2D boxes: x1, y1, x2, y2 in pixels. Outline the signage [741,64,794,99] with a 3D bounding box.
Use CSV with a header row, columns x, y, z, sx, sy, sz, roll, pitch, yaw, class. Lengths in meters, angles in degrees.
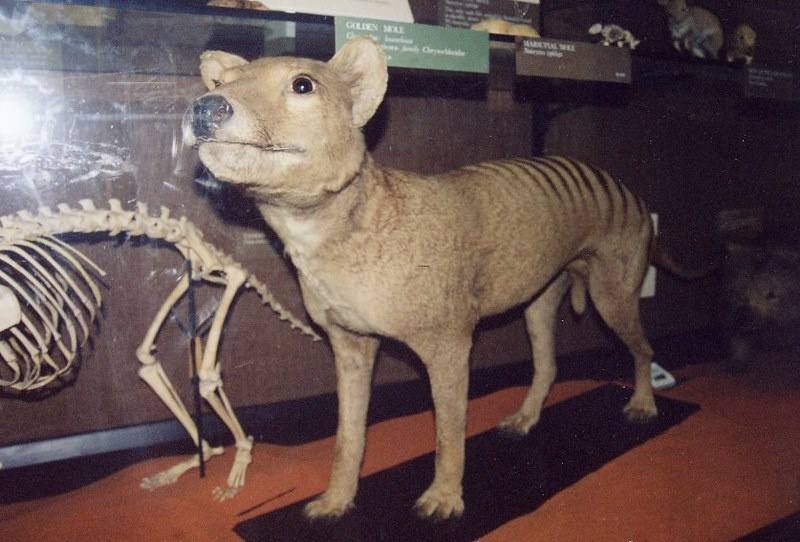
x,y,z,sx,sy,sz,roll,pitch,yaw,class
1.456,-0.754,2.805,0.194,0.115,0.043,3,12,-14,signage
